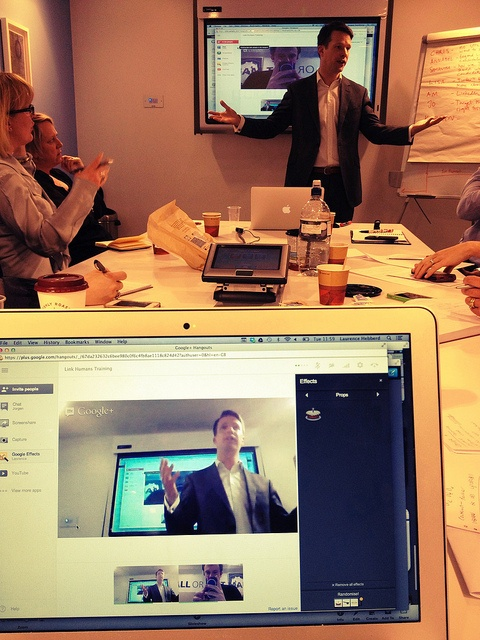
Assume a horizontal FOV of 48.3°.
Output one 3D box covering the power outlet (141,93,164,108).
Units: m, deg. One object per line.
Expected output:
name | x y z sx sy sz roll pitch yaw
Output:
power outlet | -0.753 -1.897 4.644 0.189 0.103 0.019 -2 8 7

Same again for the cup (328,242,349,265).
cup | 0.318 -0.219 1.727 0.058 0.061 0.069 -2 10 -7

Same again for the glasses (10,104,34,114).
glasses | -0.853 -0.821 2.075 0.064 0.021 0.066 -21 35 -27

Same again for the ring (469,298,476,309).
ring | 0.567 -0.042 1.299 0.007 0.022 0.014 0 -4 4

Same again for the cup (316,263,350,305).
cup | 0.248 -0.099 1.461 0.092 0.110 0.093 0 16 0

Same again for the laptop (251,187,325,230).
laptop | 0.210 -0.489 2.313 0.217 0.181 0.181 2 38 5
